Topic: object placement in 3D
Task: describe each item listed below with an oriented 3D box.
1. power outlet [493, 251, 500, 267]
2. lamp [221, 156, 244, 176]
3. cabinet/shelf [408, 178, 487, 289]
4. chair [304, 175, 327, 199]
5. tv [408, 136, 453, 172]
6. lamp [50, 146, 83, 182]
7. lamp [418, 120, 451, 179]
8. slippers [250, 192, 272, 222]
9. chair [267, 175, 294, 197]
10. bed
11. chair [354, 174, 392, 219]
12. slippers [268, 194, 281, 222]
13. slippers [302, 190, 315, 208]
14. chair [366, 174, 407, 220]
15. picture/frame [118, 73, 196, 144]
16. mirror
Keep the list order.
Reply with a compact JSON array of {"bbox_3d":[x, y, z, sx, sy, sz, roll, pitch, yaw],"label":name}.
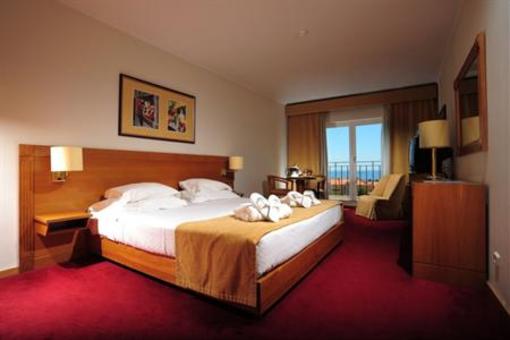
[{"bbox_3d":[2.440,0.905,3.301,0.058,0.115,0.070,-3,0,13],"label":"power outlet"},{"bbox_3d":[-0.404,-0.080,6.020,0.284,0.293,0.413,2,-3,-39],"label":"lamp"},{"bbox_3d":[2.153,0.721,3.585,0.380,0.638,1.182,-1,0,21],"label":"cabinet/shelf"},{"bbox_3d":[1.299,0.446,7.376,0.573,0.710,0.586,1,-2,-1],"label":"chair"},{"bbox_3d":[2.769,-0.212,5.199,0.694,0.719,0.454,1,2,31],"label":"tv"},{"bbox_3d":[-2.333,-0.063,4.007,0.332,0.446,0.250,-5,8,-37],"label":"lamp"},{"bbox_3d":[2.295,-0.259,4.215,0.363,0.750,0.369,-3,7,-26],"label":"lamp"},{"bbox_3d":[0.054,0.405,3.677,0.144,0.093,0.344,-18,45,-14],"label":"slippers"},{"bbox_3d":[0.564,0.370,7.270,0.482,0.635,0.514,-1,0,25],"label":"chair"},{"bbox_3d":[-0.729,0.469,4.252,2.864,1.600,3.352,6,9,38],"label":"bed"},{"bbox_3d":[2.479,0.487,6.444,0.781,0.890,0.601,4,1,-18],"label":"chair"},{"bbox_3d":[0.228,0.409,3.707,0.191,0.068,0.513,-1,25,-6],"label":"slippers"},{"bbox_3d":[0.724,0.401,4.422,0.138,0.099,0.428,0,9,10],"label":"slippers"},{"bbox_3d":[2.519,0.509,6.430,0.753,0.899,0.656,2,-3,-15],"label":"chair"},{"bbox_3d":[-1.565,-0.938,4.995,0.047,0.855,1.239,-1,-2,39],"label":"picture/frame"},{"bbox_3d":[2.821,-0.831,4.297,0.075,1.278,1.788,-1,-3,24],"label":"mirror"}]
